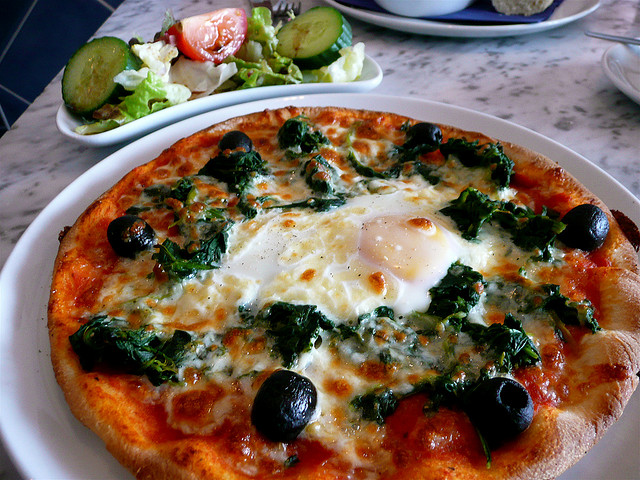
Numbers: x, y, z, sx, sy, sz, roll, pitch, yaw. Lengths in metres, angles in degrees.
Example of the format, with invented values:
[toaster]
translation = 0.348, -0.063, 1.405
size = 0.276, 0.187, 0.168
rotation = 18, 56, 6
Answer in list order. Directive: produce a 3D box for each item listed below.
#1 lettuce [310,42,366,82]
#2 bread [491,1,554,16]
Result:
[lettuce]
translation = 0.191, -1.413, 4.623
size = 0.387, 0.186, 0.357
rotation = -43, 23, -1
[bread]
translation = 1.820, -2.116, 5.195
size = 0.257, 0.085, 0.231
rotation = -16, 33, -10
